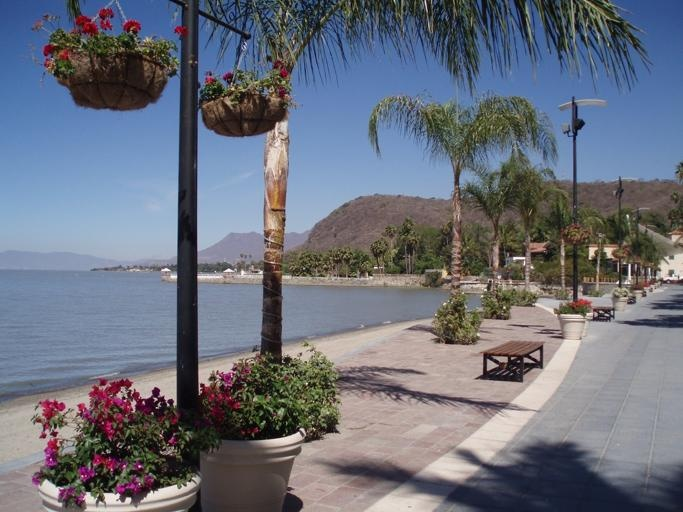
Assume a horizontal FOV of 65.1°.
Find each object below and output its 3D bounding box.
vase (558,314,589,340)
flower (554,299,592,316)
[{"bbox_3d":[7.468,2.268,17.169,0.692,0.616,0.768,1,-8,3],"label":"vase"},{"bbox_3d":[7.668,1.740,17.876,0.742,0.576,0.854,-2,1,-33],"label":"flower"}]
